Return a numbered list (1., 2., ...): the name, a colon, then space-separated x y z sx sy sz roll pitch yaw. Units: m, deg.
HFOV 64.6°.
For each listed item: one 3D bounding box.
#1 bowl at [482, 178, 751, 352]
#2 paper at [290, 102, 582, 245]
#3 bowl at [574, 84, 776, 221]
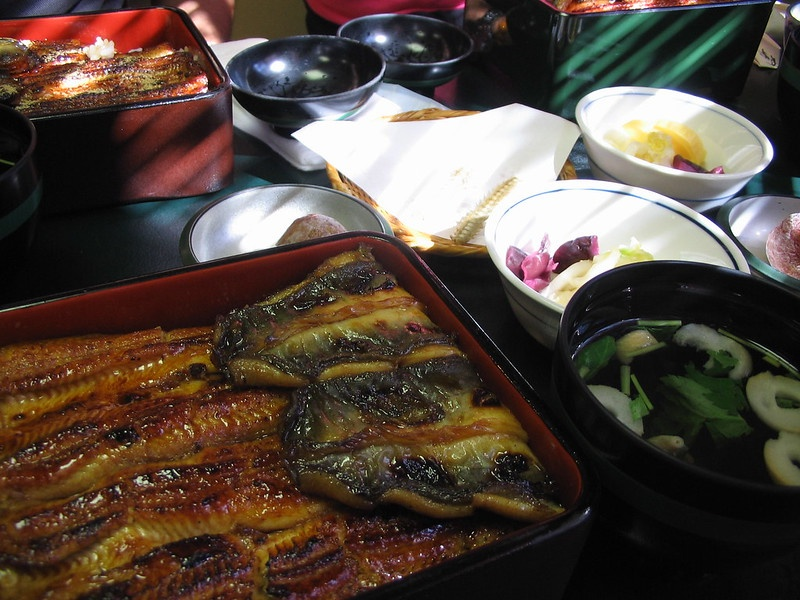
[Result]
1. bowl: 0.415 -0.142 1.529 0.490 0.179 0.474 1 44 -1
2. paper: 0.138 -0.434 1.963 0.749 0.126 0.484 -16 52 -21
3. bowl: 0.741 -0.400 1.939 0.515 0.189 0.501 7 39 -5
